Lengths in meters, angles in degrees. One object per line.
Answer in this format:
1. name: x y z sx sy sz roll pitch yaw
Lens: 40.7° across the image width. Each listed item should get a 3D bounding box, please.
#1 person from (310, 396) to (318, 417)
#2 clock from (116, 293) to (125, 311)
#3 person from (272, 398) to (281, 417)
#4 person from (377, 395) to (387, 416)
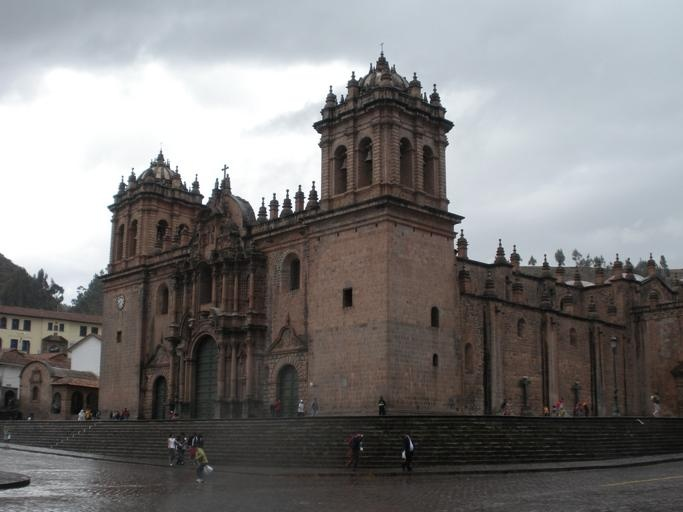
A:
1. person: -1.648 8.921 54.653 0.430 1.143 0.754 16 -26 -24
2. clock: -17.485 3.645 73.041 0.215 1.216 1.297 11 -21 -36
3. person: -4.020 9.437 57.728 0.500 1.121 0.760 0 -17 -4
4. person: 2.213 8.261 51.316 0.491 1.086 0.878 -3 -17 7
